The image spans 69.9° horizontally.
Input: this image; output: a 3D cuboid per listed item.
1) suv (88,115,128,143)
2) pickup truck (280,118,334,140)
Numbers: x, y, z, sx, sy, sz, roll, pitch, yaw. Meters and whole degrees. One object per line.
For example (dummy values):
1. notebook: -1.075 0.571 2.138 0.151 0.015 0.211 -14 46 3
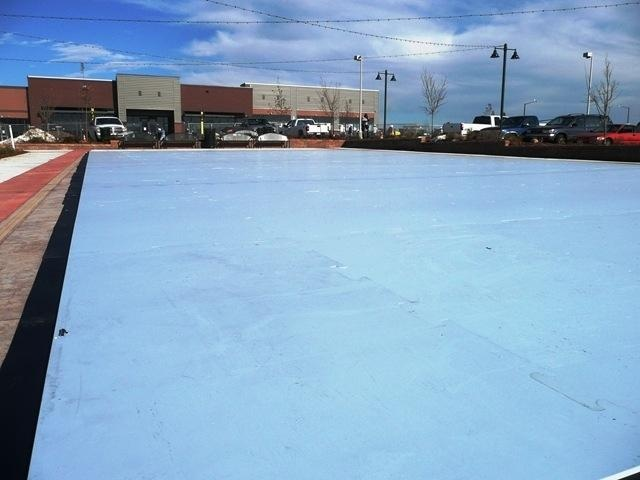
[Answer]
1. suv: -13.934 -7.241 29.872 2.123 1.653 5.654 -8 14 -25
2. pickup truck: -1.222 -8.774 36.999 2.142 1.365 4.056 -8 22 -26
